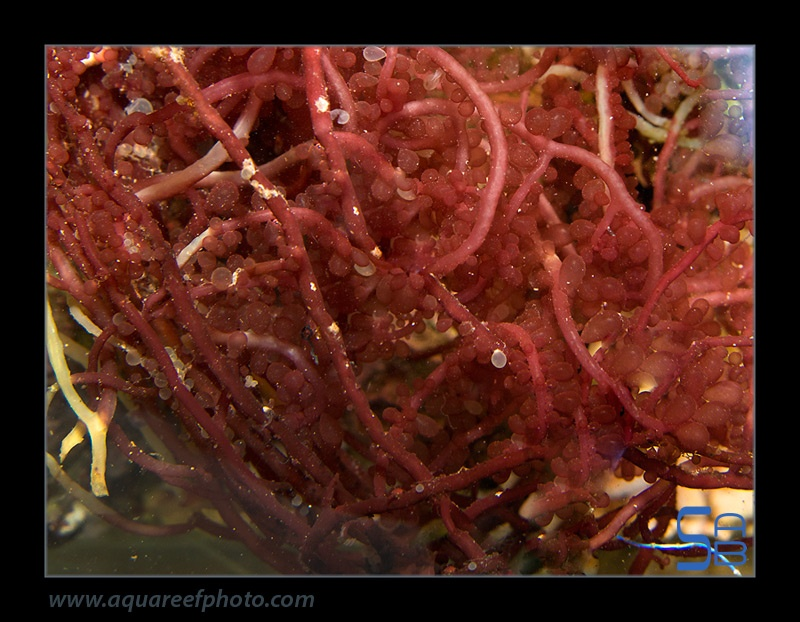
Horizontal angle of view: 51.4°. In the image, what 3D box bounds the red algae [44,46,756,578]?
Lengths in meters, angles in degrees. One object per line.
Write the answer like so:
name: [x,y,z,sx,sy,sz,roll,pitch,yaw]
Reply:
red algae: [0.003,-0.013,1.379,1.189,0.635,0.646,3,47,-3]
